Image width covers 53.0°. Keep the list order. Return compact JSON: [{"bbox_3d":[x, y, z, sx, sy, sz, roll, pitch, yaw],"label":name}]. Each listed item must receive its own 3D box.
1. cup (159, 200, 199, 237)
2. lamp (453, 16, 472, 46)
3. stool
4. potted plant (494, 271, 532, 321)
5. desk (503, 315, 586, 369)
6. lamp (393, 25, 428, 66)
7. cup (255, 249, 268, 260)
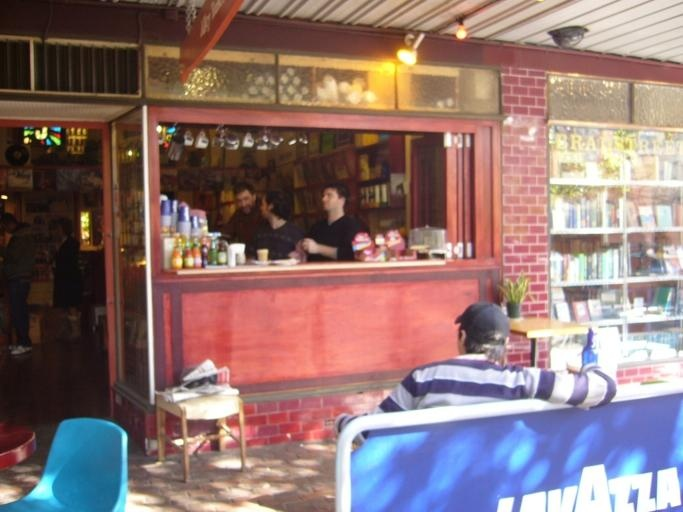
[{"bbox_3d":[-1.463,-0.335,6.171,0.312,0.398,0.261,-1,0,-18],"label":"cup"},{"bbox_3d":[1.100,-2.064,6.313,0.189,0.408,0.194,2,9,12],"label":"lamp"},{"bbox_3d":[-1.173,1.468,5.758,0.587,0.652,0.605,0,2,-40],"label":"stool"},{"bbox_3d":[1.717,0.407,6.919,0.401,0.497,0.367,2,-8,-2],"label":"potted plant"},{"bbox_3d":[1.876,0.694,6.532,0.546,0.593,0.571,-1,2,-22],"label":"desk"},{"bbox_3d":[0.671,-1.945,6.571,0.305,0.363,0.312,-28,40,-34],"label":"lamp"},{"bbox_3d":[-0.748,-0.009,6.417,0.089,0.101,0.096,1,1,0],"label":"cup"}]
